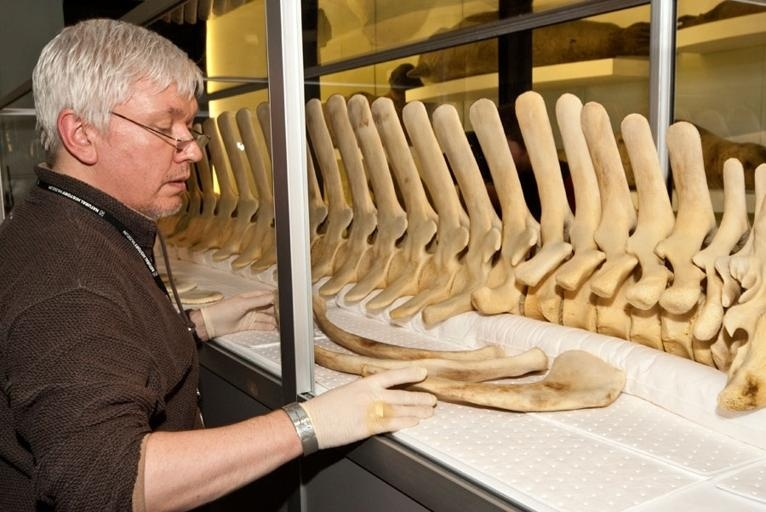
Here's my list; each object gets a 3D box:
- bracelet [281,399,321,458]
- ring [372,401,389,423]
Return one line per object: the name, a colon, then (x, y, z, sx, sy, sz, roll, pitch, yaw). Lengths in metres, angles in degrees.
bracelet: (-0.162, 0.349, 1.165, 0.091, 0.089, 0.085, -21, -6, -25)
ring: (-0.004, 0.332, 1.217, 0.038, 0.036, 0.010, 7, -6, -37)
